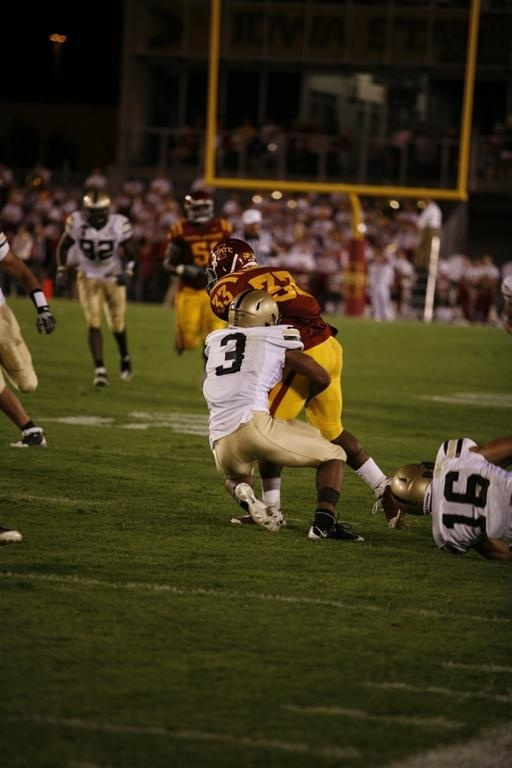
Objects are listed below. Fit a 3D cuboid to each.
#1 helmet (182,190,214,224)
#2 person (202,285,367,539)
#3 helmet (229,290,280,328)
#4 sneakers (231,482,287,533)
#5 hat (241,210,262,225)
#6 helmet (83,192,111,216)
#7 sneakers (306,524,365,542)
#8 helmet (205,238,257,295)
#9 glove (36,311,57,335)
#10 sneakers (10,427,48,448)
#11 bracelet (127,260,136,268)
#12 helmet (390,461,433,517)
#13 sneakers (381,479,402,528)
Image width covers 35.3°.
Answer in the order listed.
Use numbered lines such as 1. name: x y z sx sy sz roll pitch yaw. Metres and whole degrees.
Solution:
1. helmet: -0.470 -1.444 6.634 0.294 0.287 0.326 -7 1 -7
2. person: 0.088 0.120 2.736 0.553 0.856 0.330 4 6 -5
3. helmet: 0.002 -0.255 2.737 0.116 0.117 0.157 19 38 37
4. sneakers: 0.007 0.435 2.801 0.082 0.214 0.095 -49 12 -20
5. hat: -0.033 -1.659 8.096 0.212 0.183 0.259 2 11 3
6. helmet: -1.174 -1.337 5.941 0.172 0.197 0.238 3 5 -16
7. sneakers: 0.281 0.532 2.837 0.228 0.075 0.071 1 2 -7
8. helmet: -0.098 -0.491 3.211 0.229 0.194 0.168 1 7 39
9. glove: -0.851 -0.244 3.271 0.100 0.111 0.045 -4 0 5
10. sneakers: -1.055 0.253 3.736 0.192 0.094 0.115 -4 8 5
11. bracelet: -0.949 -0.918 6.141 0.061 0.053 0.093 11 15 -12
12. helmet: 0.530 0.359 2.724 0.204 0.140 0.138 -6 11 11
13. sneakers: 0.505 0.447 3.066 0.076 0.194 0.085 -14 -10 19
